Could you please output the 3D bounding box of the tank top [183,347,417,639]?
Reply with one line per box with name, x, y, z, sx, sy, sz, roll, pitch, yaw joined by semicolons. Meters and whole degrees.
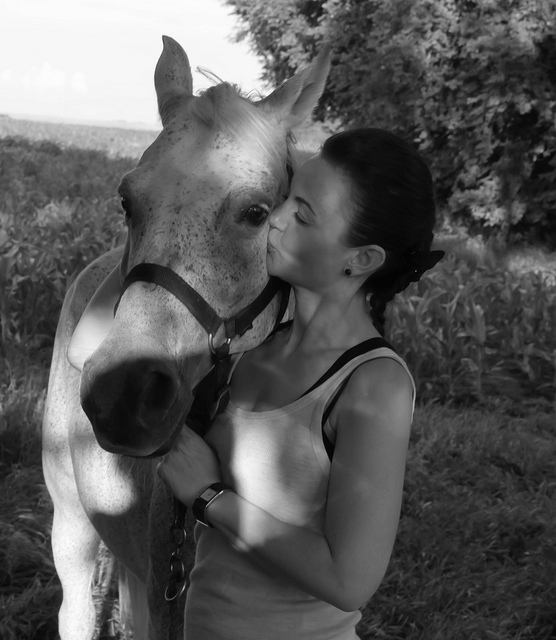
tank top;0.016;0.390;1.516;0.480;0.743;0.335;11;13;17
